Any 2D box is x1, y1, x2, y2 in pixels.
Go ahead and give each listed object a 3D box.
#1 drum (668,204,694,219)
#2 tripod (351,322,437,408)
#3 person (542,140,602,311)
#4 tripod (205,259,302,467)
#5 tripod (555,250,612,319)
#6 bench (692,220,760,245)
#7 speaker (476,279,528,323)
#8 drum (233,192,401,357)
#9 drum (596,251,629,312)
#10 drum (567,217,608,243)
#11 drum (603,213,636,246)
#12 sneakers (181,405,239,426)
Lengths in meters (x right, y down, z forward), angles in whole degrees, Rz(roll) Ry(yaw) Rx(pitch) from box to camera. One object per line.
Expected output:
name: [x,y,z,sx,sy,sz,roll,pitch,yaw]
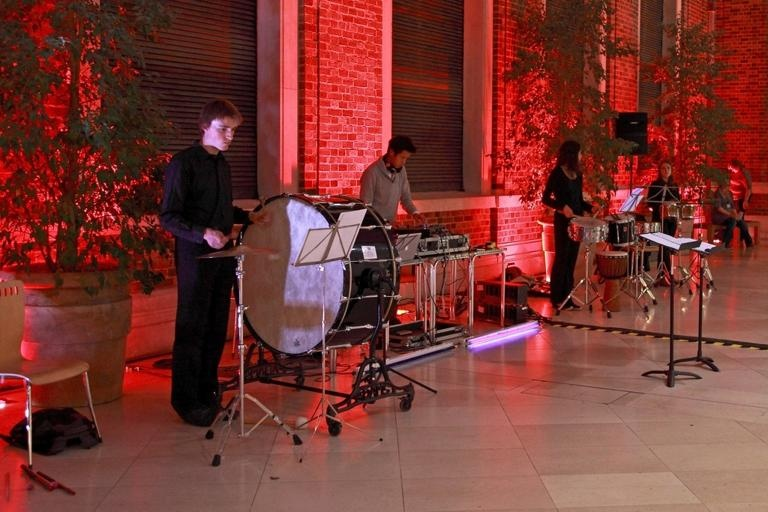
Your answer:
drum: [4.675,-0.711,9.632,0.292,0.176,0.273,1,0,0]
tripod: [0.120,0.859,5.217,0.653,0.881,0.723,0,-3,8]
person: [2.474,-0.429,8.316,0.593,2.236,0.864,7,12,30]
tripod: [-1.035,0.587,4.612,0.661,1.470,1.232,-3,11,-17]
tripod: [2.760,0.413,8.496,0.906,1.151,0.724,2,-4,-2]
bench: [7.365,-0.524,13.163,0.864,0.275,0.576,-4,11,-29]
speaker: [1.444,0.554,7.661,0.673,0.499,0.261,8,13,36]
drum: [-0.543,0.165,4.852,1.275,1.271,0.850,35,22,36]
drum: [3.116,0.286,8.420,0.386,0.796,1.388,4,11,19]
drum: [2.640,-0.339,7.897,0.485,0.318,0.406,3,11,15]
drum: [3.209,-0.396,8.356,0.431,0.389,0.427,1,13,12]
sneakers: [-1.344,1.217,4.721,0.325,0.112,0.243,-3,-2,14]
